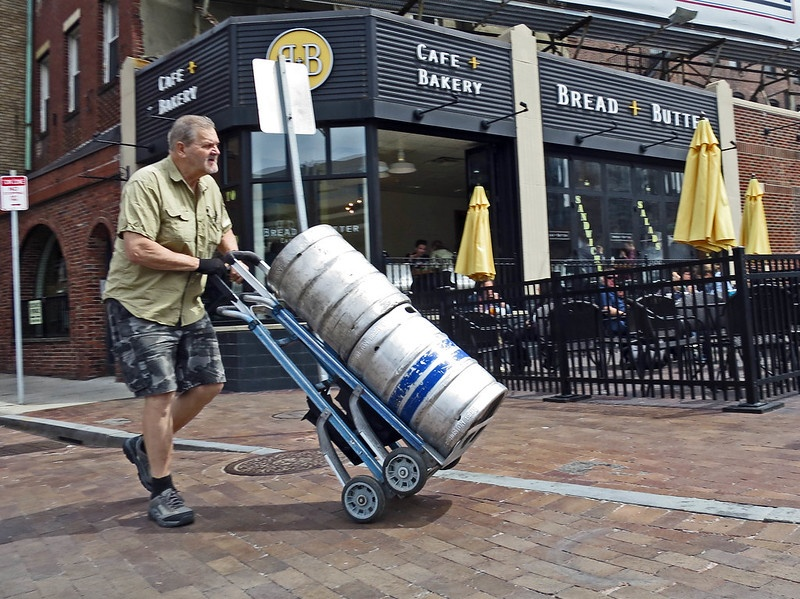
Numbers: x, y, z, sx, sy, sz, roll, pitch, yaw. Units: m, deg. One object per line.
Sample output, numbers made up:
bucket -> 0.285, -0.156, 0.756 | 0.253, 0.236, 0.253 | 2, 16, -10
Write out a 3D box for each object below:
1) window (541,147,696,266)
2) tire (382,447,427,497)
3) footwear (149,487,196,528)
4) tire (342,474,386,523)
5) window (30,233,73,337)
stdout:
window -> 4.783, -2.186, 16.701 | 6.285, 2.025, 0.115 | -1, 2, -27
tire -> 0.029, 1.160, 4.875 | 0.302, 0.337, 0.128 | -7, 14, 8
footwear -> -1.607, 1.470, 5.174 | 0.295, 0.166, 0.547 | -12, 2, -34
tire -> -0.243, 1.361, 4.933 | 0.315, 0.339, 0.150 | -6, 14, 11
window -> -8.620, -0.357, 18.104 | 0.228, 3.002, 4.084 | -1, 1, -38
